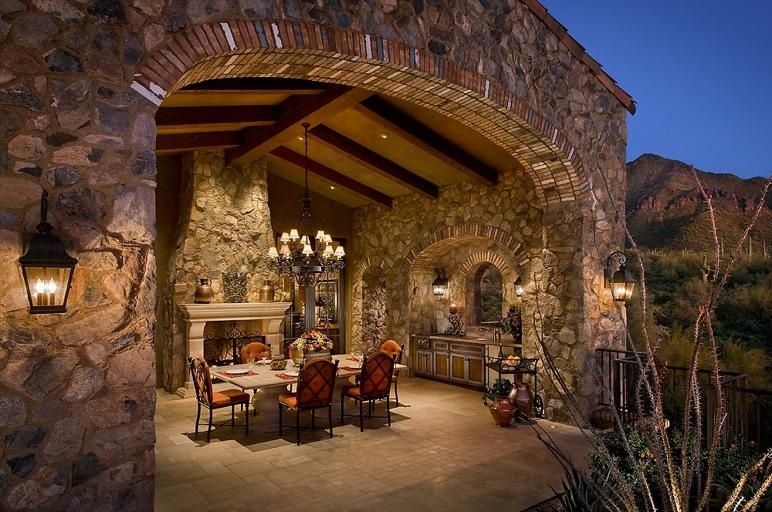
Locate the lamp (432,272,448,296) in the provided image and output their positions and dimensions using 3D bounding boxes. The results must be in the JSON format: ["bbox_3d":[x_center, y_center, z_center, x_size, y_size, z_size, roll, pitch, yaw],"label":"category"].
[{"bbox_3d":[1.173,0.626,10.972,0.287,0.500,0.269,1,2,41],"label":"lamp"}]

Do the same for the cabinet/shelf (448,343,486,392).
[{"bbox_3d":[1.658,2.071,9.776,0.342,0.807,0.846,2,-4,-41],"label":"cabinet/shelf"}]

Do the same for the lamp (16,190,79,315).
[{"bbox_3d":[-2.450,0.128,3.678,0.343,0.586,0.156,-1,1,-30],"label":"lamp"}]

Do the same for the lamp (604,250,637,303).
[{"bbox_3d":[3.468,0.271,7.518,0.275,0.759,0.404,0,-1,-40],"label":"lamp"}]

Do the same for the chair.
[{"bbox_3d":[-1.363,1.913,7.385,2.764,1.128,1.770,-1,1,-21],"label":"chair"}]

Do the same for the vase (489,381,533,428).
[{"bbox_3d":[1.829,2.141,7.379,0.598,0.580,0.494,0,1,14],"label":"vase"}]

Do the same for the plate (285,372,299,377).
[{"bbox_3d":[-1.301,1.626,7.017,0.156,0.046,0.308,0,1,-10],"label":"plate"}]

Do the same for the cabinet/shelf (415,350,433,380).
[{"bbox_3d":[0.811,2.266,10.566,0.282,0.517,0.554,7,-10,-33],"label":"cabinet/shelf"}]

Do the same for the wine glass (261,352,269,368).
[{"bbox_3d":[-1.885,1.632,7.908,0.128,0.202,0.126,0,4,-35],"label":"wine glass"}]
